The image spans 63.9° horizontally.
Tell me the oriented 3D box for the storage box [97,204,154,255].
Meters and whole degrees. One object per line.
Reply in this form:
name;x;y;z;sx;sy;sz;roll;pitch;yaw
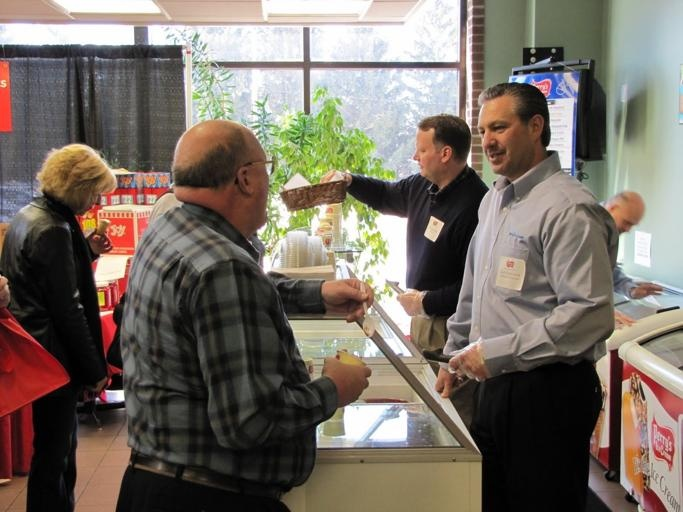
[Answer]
storage box;-1.533;-0.185;3.843;0.359;0.386;0.383;0;2;15

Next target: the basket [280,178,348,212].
basket;-0.152;-0.353;3.204;0.242;0.101;0.230;-8;0;-1
